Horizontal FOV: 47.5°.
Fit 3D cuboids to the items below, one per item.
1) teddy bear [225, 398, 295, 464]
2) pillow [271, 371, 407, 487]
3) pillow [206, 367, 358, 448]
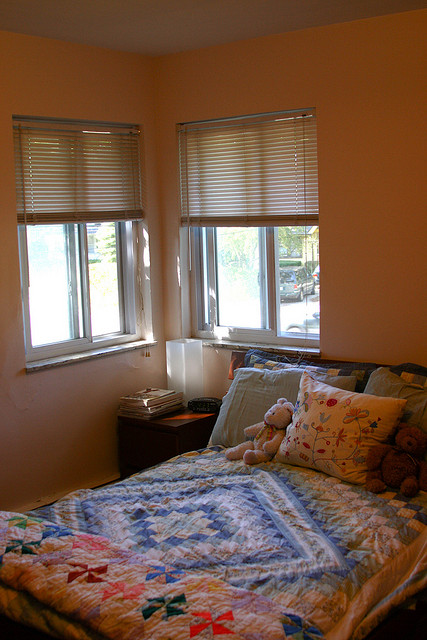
[{"bbox_3d":[0.247,0.517,2.311,0.256,0.321,0.221,14,1,-23],"label":"teddy bear"},{"bbox_3d":[0.508,0.478,2.095,0.235,0.380,0.539,0,3,-35],"label":"pillow"},{"bbox_3d":[0.312,0.470,2.552,0.705,0.492,0.253,-7,-28,44],"label":"pillow"}]
